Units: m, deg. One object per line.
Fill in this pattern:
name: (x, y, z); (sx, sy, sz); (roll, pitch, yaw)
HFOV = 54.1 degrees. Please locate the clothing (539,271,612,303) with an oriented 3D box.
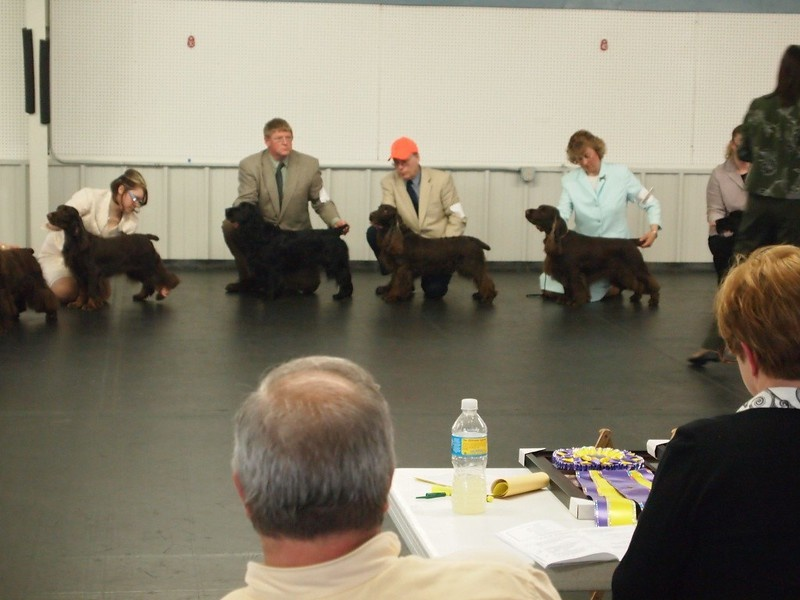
clothing: (1.590, -0.109, 7.177); (0.438, 0.179, 0.321); (2, 3, -1)

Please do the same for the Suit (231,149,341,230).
Suit: (-1.057, -1.015, 7.356); (1.144, 0.937, 0.682); (-3, 9, -11)

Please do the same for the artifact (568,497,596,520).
artifact: (0.432, 0.484, 1.844); (0.046, 0.012, 0.049); (-6, 15, -13)

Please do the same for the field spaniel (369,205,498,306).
field spaniel: (0.263, -0.387, 7.227); (0.981, 0.739, 0.434); (0, 26, -1)

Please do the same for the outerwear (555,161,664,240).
outerwear: (1.944, -0.953, 7.271); (1.116, 0.839, 0.628); (-1, 19, 17)

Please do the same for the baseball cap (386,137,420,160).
baseball cap: (0.055, -1.359, 7.097); (0.191, 0.170, 0.284); (2, 9, 18)
